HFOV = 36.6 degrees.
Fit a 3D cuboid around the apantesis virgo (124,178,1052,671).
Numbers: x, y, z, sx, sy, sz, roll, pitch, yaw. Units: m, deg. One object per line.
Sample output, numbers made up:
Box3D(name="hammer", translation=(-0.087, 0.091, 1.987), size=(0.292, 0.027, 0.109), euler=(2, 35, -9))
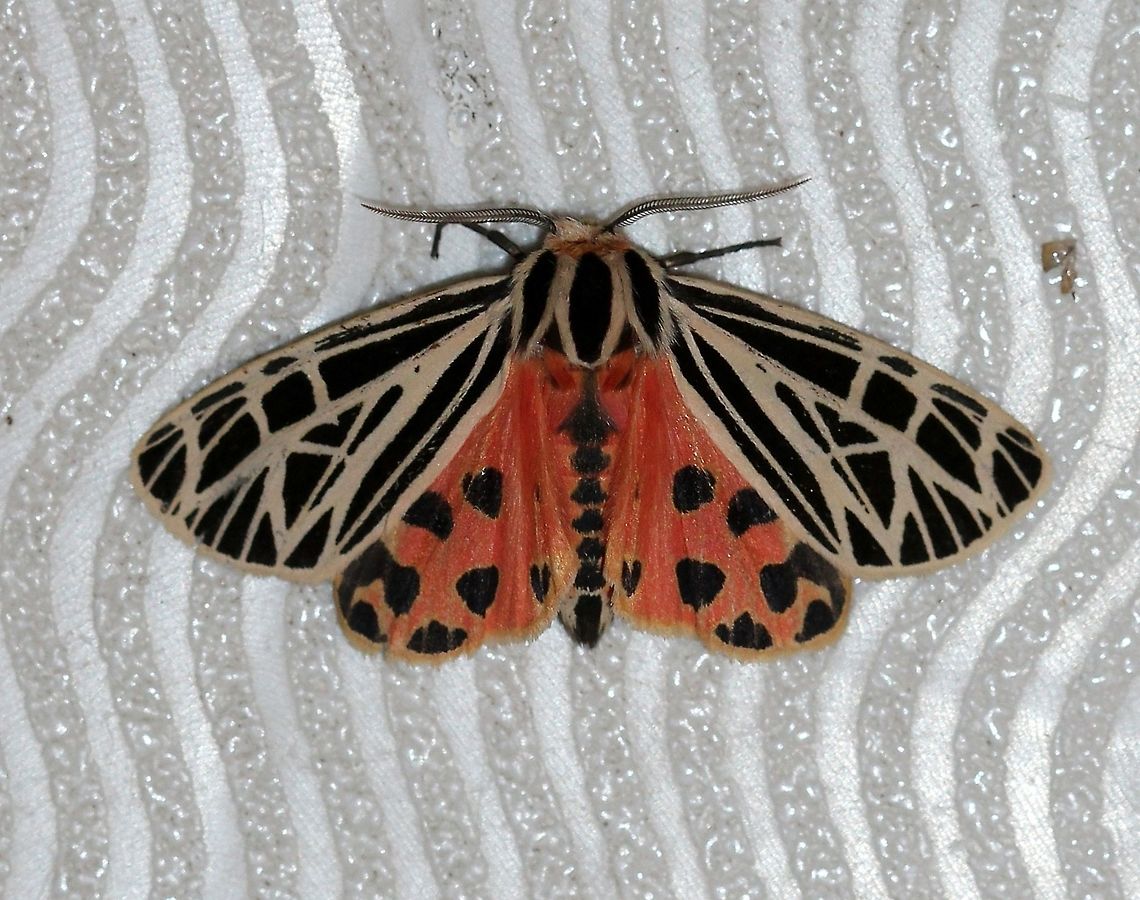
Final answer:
Box3D(name="apantesis virgo", translation=(0.022, -0.027, 2.121), size=(1.092, 0.160, 0.561), euler=(-1, 83, 2))
